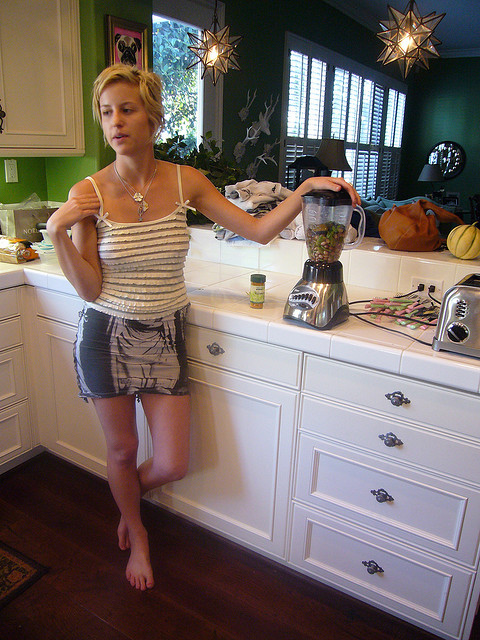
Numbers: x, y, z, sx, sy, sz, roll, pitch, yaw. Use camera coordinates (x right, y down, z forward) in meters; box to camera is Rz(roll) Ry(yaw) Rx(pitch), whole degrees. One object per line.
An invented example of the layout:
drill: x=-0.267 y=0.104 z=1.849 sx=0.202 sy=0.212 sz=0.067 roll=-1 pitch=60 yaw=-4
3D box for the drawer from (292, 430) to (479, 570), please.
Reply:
drawer: x=0.383 y=0.464 z=1.227 sx=0.506 sy=0.226 sz=0.275 roll=11 pitch=8 yaw=29

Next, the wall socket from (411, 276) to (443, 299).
wall socket: x=0.612 y=-0.104 z=1.553 sx=0.090 sy=0.059 sz=0.010 roll=21 pitch=28 yaw=35

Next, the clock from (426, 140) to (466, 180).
clock: x=3.598 y=-2.823 z=8.390 sx=0.686 sy=0.625 sz=0.094 roll=4 pitch=7 yaw=-4

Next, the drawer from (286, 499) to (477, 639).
drawer: x=0.404 y=0.545 z=1.280 sx=0.489 sy=0.272 sz=0.293 roll=12 pitch=5 yaw=29

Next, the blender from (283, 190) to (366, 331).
blender: x=0.215 y=-0.165 z=1.274 sx=0.143 sy=0.360 sz=0.157 roll=12 pitch=17 yaw=33

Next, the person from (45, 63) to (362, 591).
person: x=-0.199 y=0.082 z=1.371 sx=0.628 sy=1.433 sz=0.250 roll=-3 pitch=15 yaw=-20

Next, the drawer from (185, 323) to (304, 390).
drawer: x=0.028 y=0.108 z=1.362 sx=0.293 sy=0.091 sz=0.201 roll=12 pitch=14 yaw=26

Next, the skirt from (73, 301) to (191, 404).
skirt: x=-0.255 y=0.114 z=1.472 sx=0.174 sy=0.268 sz=0.305 roll=16 pitch=-19 yaw=-22
